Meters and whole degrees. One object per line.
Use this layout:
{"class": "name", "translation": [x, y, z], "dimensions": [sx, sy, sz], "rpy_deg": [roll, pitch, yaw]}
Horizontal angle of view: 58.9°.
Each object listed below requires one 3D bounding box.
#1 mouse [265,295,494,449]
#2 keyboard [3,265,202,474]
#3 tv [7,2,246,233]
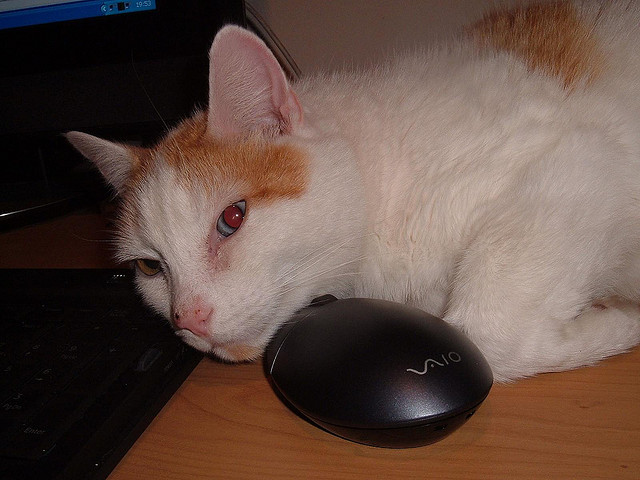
{"class": "mouse", "translation": [0.064, 0.157, 0.681], "dimensions": [0.269, 0.100, 0.163], "rpy_deg": [3, 42, 16]}
{"class": "keyboard", "translation": [-0.276, 0.167, 0.684], "dimensions": [0.209, 0.049, 0.298], "rpy_deg": [17, 31, -4]}
{"class": "tv", "translation": [-0.363, -0.238, 1.043], "dimensions": [0.519, 0.336, 0.125], "rpy_deg": [-6, 14, -6]}
